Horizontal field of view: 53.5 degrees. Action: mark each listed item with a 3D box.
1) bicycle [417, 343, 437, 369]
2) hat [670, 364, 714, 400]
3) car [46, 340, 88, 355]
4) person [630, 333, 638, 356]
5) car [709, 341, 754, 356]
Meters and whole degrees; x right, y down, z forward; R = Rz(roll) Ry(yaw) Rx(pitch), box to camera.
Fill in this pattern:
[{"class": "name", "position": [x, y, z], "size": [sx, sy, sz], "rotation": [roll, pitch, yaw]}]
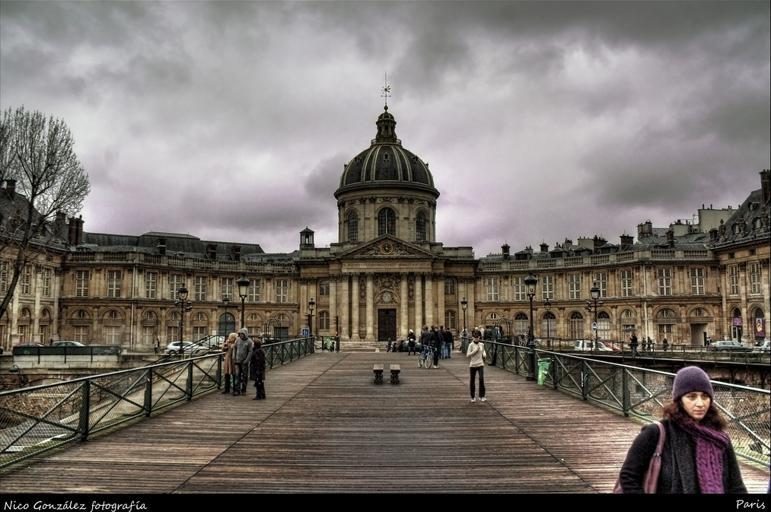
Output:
[{"class": "bicycle", "position": [2.221, 5.450, 41.303], "size": [0.916, 1.261, 2.190], "rotation": [-1, -8, 2]}, {"class": "hat", "position": [6.921, 2.879, 17.434], "size": [0.803, 0.683, 0.824], "rotation": [2, -11, -1]}, {"class": "car", "position": [-22.849, 6.540, 54.788], "size": [2.465, 0.815, 1.131], "rotation": [10, 0, -3]}, {"class": "person", "position": [19.288, 6.962, 59.591], "size": [0.446, 1.452, 2.952], "rotation": [-3, -8, 17]}, {"class": "car", "position": [24.775, 6.651, 54.930], "size": [3.100, 0.961, 1.364], "rotation": [-3, -2, -5]}]
